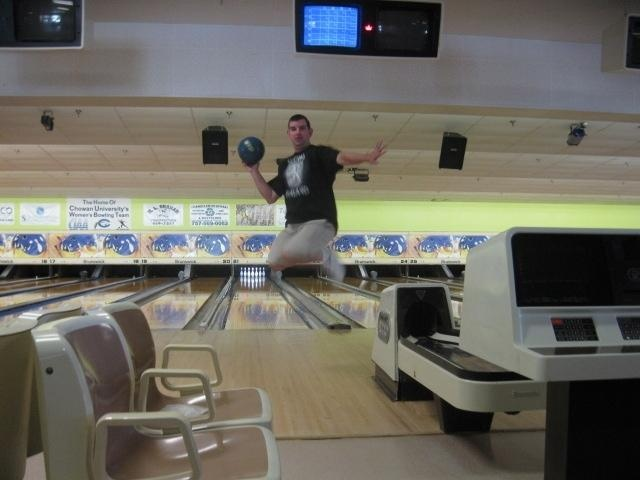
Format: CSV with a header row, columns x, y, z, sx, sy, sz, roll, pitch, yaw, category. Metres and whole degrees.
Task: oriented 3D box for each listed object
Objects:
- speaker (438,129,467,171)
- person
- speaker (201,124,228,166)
x,y,z,sx,sy,sz,roll,pitch,yaw,category
1.582,-1.101,5.917,0.300,0.449,0.233,11,22,-3,speaker
-0.079,-0.235,3.450,0.822,1.255,0.800,-3,10,-9,person
-1.142,-1.019,5.382,0.254,0.360,0.105,-2,11,-2,speaker
